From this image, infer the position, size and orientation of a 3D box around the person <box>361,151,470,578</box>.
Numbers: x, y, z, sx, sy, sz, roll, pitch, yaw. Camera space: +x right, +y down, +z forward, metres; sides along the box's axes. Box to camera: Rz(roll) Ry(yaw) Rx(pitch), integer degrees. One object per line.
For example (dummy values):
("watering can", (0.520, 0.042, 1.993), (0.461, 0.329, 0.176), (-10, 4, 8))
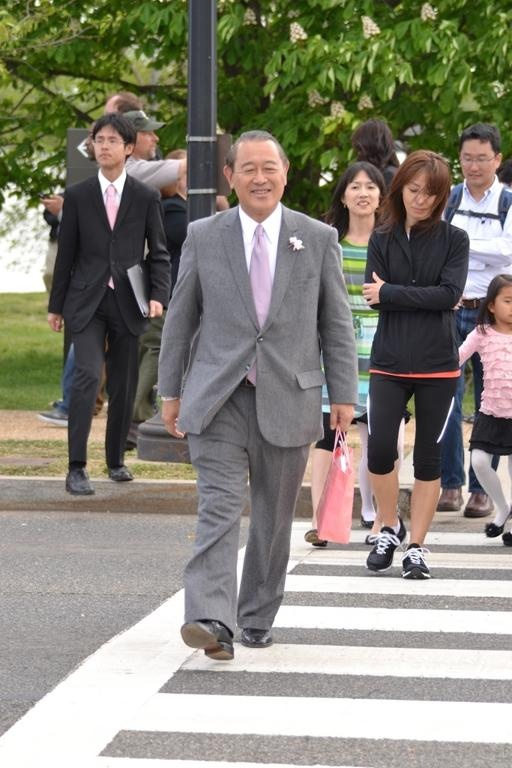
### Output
("person", (0.700, -0.066, 4.766), (0.487, 1.950, 0.334), (2, 2, 19))

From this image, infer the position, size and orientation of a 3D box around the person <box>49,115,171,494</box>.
("person", (-0.867, -0.472, 6.359), (0.708, 2.262, 0.298), (0, 2, -31))

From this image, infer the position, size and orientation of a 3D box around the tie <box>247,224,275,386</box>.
("tie", (0.025, -0.350, 3.426), (0.082, 0.337, 0.069), (-1, 2, -37))

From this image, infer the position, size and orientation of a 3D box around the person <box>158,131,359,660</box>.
("person", (0.027, 0.054, 3.402), (0.666, 1.749, 0.522), (1, 2, -7))

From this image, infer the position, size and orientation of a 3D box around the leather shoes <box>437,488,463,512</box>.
("leather shoes", (1.216, 0.744, 6.553), (0.105, 0.184, 0.303), (-2, -6, 13))

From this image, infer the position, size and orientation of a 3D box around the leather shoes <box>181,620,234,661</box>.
("leather shoes", (-0.142, 0.790, 3.252), (0.086, 0.103, 0.216), (-10, -36, 20))

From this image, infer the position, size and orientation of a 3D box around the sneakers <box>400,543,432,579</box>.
("sneakers", (0.725, 0.826, 4.729), (0.084, 0.096, 0.213), (1, -3, -1))

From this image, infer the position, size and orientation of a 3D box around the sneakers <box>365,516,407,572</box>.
("sneakers", (0.605, 0.738, 4.921), (0.132, 0.113, 0.285), (4, 45, 32))

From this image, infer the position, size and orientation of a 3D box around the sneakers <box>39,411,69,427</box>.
("sneakers", (-1.745, 0.317, 9.109), (0.271, 0.113, 0.100), (17, 12, 23))

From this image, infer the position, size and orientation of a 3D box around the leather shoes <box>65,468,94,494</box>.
("leather shoes", (-1.051, 0.596, 6.249), (0.151, 0.168, 0.121), (0, 2, -13))
